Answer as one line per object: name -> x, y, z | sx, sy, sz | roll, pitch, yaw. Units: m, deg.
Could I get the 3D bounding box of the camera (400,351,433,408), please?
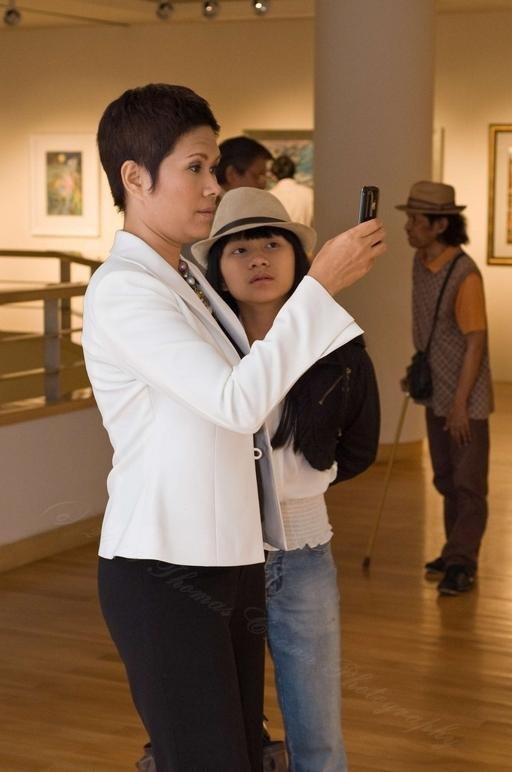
camera -> 0.441, -0.027, 1.852 | 0.059, 0.116, 0.095 | 20, 31, 39

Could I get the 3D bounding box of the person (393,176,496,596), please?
person -> 0.485, -0.006, 1.704 | 0.223, 1.029, 0.245 | 0, 8, 19

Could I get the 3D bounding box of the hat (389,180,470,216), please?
hat -> 0.458, -0.481, 1.710 | 0.143, 0.095, 0.069 | -2, 8, 2

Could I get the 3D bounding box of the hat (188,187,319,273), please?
hat -> -0.008, -0.248, 0.978 | 0.127, 0.054, 0.144 | -16, -17, 5

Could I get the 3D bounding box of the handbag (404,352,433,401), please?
handbag -> 0.442, -0.025, 1.820 | 0.062, 0.119, 0.144 | 1, 1, -2

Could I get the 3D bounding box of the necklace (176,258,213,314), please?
necklace -> -0.069, -0.113, 0.767 | 0.021, 0.055, 0.042 | -37, 7, 7
